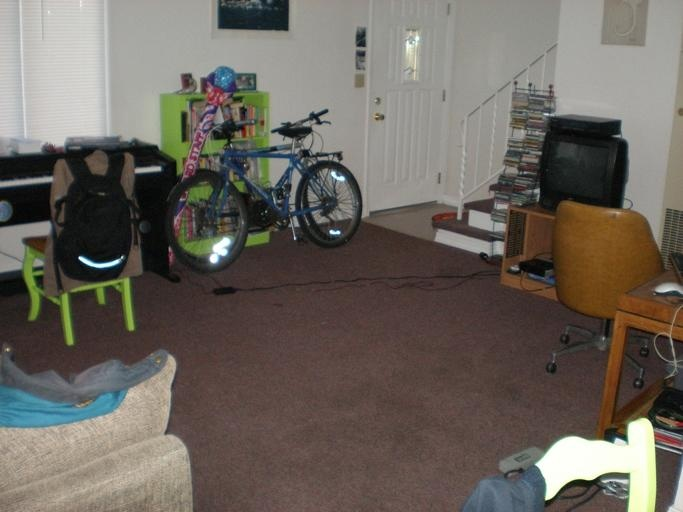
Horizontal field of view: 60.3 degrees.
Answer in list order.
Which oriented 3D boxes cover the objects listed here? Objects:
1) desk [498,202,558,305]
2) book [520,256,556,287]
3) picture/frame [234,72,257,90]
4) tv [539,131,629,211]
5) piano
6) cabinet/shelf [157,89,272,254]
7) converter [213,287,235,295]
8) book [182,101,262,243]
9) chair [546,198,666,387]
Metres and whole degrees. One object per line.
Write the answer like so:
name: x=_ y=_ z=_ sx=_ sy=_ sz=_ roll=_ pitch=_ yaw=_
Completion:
desk: x=1.445 y=-0.005 z=4.497 sx=0.310 sy=0.599 sz=0.609 roll=-8 pitch=17 yaw=-35
book: x=1.533 y=0.107 z=4.519 sx=0.205 sy=0.057 sz=0.209 roll=-12 pitch=27 yaw=-36
picture/frame: x=-0.856 y=-1.583 z=5.324 sx=0.106 sy=0.151 sz=0.303 roll=12 pitch=20 yaw=29
tv: x=1.660 y=-0.591 z=3.999 sx=0.267 sy=0.430 sz=0.468 roll=-16 pitch=24 yaw=-37
piano: x=-1.707 y=-0.271 z=3.897 sx=0.969 sy=0.688 sz=0.416 roll=-11 pitch=26 yaw=-28
cabinet/shelf: x=-1.081 y=-0.693 z=4.822 sx=1.000 sy=1.808 sz=0.513 roll=-10 pitch=23 yaw=-25
converter: x=-0.882 y=0.266 z=4.437 sx=0.114 sy=0.030 sz=0.065 roll=0 pitch=19 yaw=5
book: x=-1.081 y=-0.751 z=5.034 sx=0.594 sy=1.129 sz=0.344 roll=10 pitch=-2 yaw=-7
chair: x=1.584 y=0.179 z=3.515 sx=0.621 sy=1.058 sz=0.615 roll=12 pitch=23 yaw=41
